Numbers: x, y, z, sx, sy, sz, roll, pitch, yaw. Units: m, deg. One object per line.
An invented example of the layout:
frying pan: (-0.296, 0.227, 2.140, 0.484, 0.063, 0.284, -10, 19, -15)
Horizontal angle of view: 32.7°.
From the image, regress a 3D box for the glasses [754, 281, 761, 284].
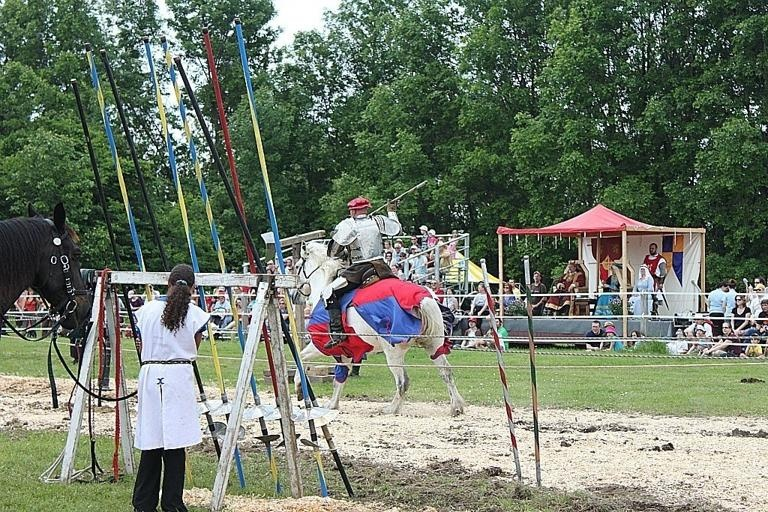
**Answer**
glasses: (12.588, 0.875, 43.923, 0.139, 0.064, 0.152, -4, 9, 9)

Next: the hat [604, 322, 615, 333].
hat: (7.635, 2.380, 44.105, 0.408, 0.275, 0.586, 1, -13, 14)

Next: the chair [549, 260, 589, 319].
chair: (6.757, 1.168, 48.442, 1.502, 1.884, 1.305, -2, 5, -26)

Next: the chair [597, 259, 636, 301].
chair: (8.510, 1.023, 47.853, 1.448, 1.494, 1.314, 5, -1, -12)

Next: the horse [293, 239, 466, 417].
horse: (-0.593, 2.216, 38.410, 2.494, 4.905, 7.390, 6, -1, -43)

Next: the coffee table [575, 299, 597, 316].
coffee table: (7.262, 1.798, 47.208, 0.813, 0.641, 0.592, 0, -7, 17)
